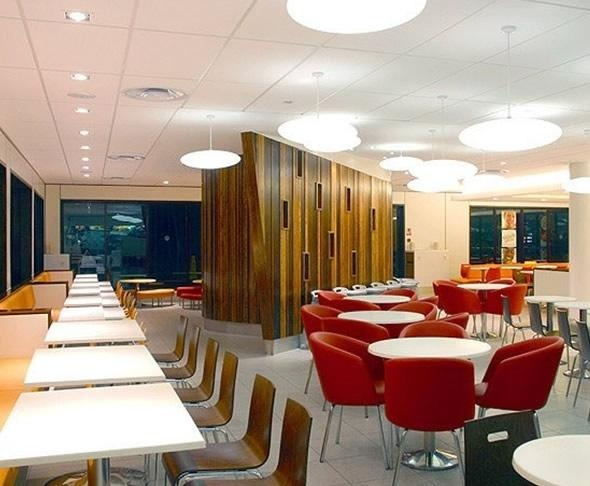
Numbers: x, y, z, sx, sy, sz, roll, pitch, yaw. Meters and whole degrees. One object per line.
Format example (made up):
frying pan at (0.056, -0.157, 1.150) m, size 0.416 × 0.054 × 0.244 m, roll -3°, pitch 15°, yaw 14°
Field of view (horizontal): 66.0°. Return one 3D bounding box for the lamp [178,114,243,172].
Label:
lamp at (-1.295, -1.635, 7.052) m, size 0.981 × 0.656 × 0.937 m, roll -3°, pitch 11°, yaw -22°
